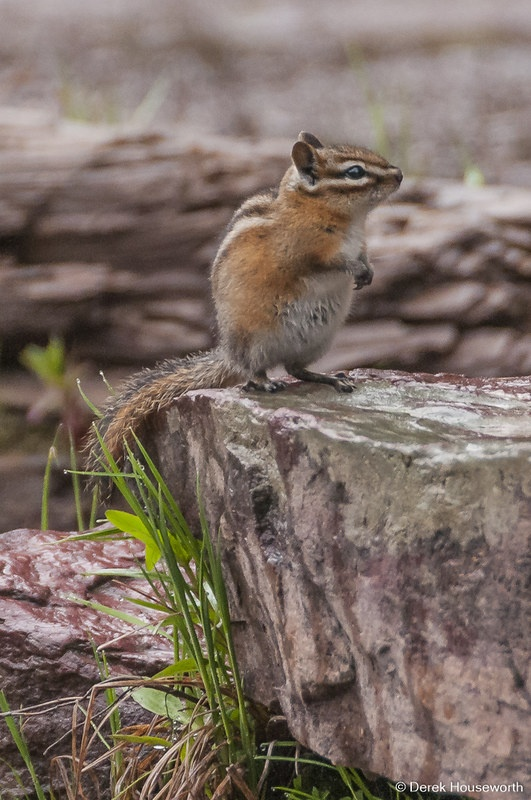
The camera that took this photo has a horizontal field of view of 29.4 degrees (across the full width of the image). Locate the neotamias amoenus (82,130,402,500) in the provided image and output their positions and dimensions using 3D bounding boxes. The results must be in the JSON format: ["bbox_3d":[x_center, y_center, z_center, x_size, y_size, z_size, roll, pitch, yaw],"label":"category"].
[{"bbox_3d":[-0.074,-0.252,2.702,0.764,0.886,0.519,2,15,24],"label":"neotamias amoenus"}]
